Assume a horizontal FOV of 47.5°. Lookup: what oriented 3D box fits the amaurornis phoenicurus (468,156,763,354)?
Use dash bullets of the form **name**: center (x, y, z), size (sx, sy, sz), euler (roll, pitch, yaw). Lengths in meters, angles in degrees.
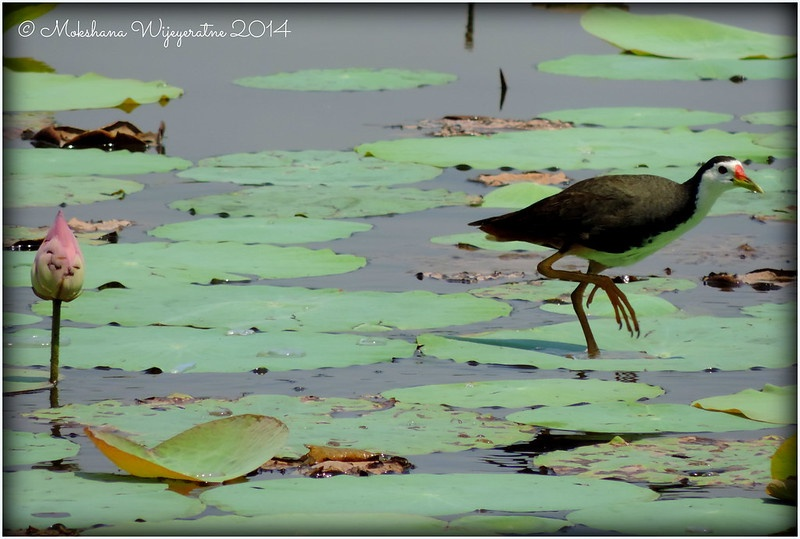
- **amaurornis phoenicurus**: center (1.739, -0.245, 7.280), size (2.090, 1.304, 0.709), euler (1, 13, 10)
